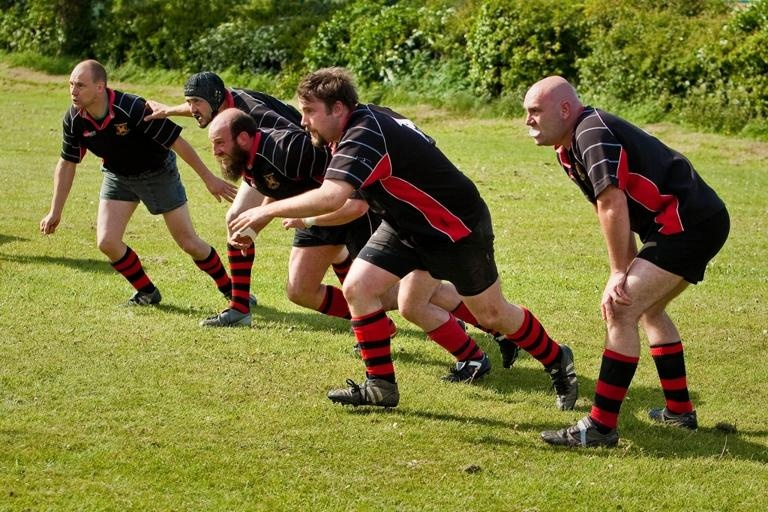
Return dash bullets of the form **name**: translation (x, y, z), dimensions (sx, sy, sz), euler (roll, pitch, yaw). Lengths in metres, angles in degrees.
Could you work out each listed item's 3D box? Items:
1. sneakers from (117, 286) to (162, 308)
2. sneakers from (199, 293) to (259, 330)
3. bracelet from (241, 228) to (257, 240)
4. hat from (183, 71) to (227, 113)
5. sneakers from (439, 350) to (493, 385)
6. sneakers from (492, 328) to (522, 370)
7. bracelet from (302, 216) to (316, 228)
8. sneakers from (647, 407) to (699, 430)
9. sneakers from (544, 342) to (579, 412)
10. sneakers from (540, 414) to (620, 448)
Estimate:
- **sneakers**: translation (-2.664, 0.459, 10.329), dimensions (0.412, 0.177, 0.144), euler (-3, 29, -21)
- **sneakers**: translation (-1.628, 0.648, 10.030), dimensions (0.552, 0.205, 0.196), euler (2, -1, -23)
- **bracelet**: translation (-1.152, -0.184, 8.070), dimensions (0.117, 0.081, 0.084), euler (-2, -20, 0)
- **hat**: translation (-1.837, -1.702, 9.784), dimensions (0.370, 0.400, 0.425), euler (10, 17, 39)
- **sneakers**: translation (0.812, 1.084, 9.235), dimensions (0.552, 0.266, 0.201), euler (-19, 14, -5)
- **sneakers**: translation (1.230, 0.958, 9.541), dimensions (0.217, 0.465, 0.158), euler (-26, 27, 16)
- **bracelet**: translation (-0.664, -0.295, 8.401), dimensions (0.078, 0.055, 0.103), euler (-7, 12, -38)
- **sneakers**: translation (2.613, 1.479, 8.648), dimensions (0.450, 0.177, 0.176), euler (12, -3, 25)
- **sneakers**: translation (1.670, 1.141, 8.884), dimensions (0.224, 0.640, 0.287), euler (-14, -8, 44)
- **sneakers**: translation (1.698, 1.548, 8.314), dimensions (0.682, 0.270, 0.253), euler (3, -4, 1)
